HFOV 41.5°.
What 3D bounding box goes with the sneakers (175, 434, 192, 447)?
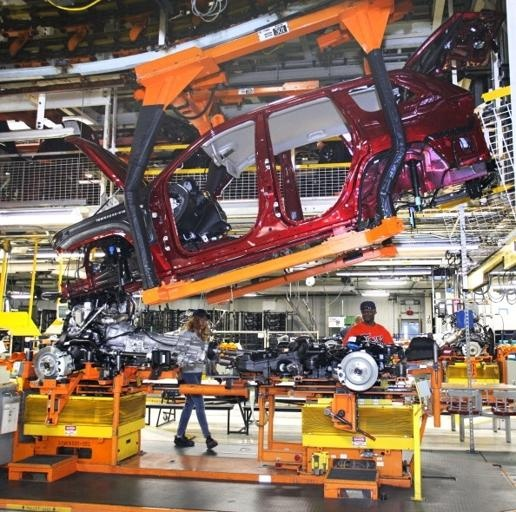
[{"bbox_3d":[-0.887,2.288,8.401,0.318,0.150,0.090,0,1,-9],"label":"sneakers"}]
